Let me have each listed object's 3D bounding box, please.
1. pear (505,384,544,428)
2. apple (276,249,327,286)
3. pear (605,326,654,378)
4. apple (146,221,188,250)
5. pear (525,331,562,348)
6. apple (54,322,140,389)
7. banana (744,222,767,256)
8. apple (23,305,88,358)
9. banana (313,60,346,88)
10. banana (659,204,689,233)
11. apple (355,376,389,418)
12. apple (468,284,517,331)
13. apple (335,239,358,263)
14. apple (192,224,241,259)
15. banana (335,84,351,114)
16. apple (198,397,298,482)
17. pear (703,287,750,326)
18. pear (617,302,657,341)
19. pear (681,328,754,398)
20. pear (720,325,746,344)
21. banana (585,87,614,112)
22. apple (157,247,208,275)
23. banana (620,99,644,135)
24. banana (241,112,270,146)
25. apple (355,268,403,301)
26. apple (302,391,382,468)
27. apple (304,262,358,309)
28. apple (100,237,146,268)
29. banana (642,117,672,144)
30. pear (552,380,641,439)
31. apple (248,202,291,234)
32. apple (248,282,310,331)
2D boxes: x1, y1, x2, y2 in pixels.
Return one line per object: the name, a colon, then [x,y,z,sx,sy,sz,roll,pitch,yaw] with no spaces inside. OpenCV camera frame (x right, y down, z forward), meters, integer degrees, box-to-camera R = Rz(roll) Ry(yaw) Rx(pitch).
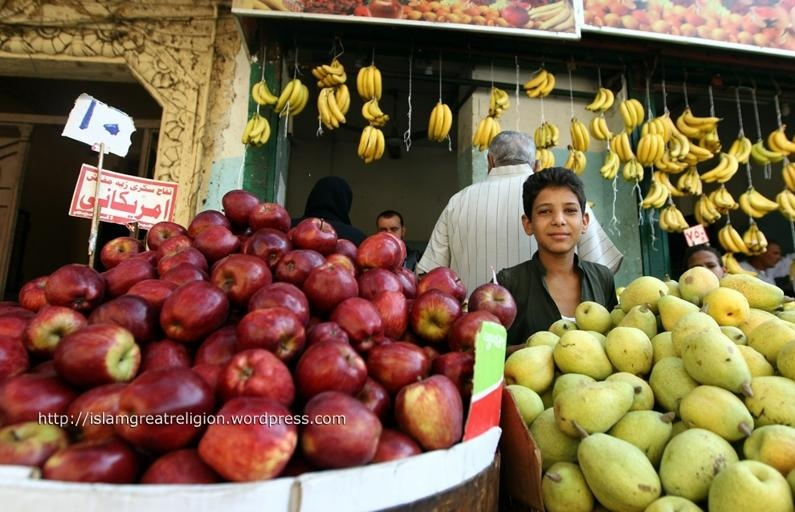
pear: [0.584,0.712,2.552,0.151,0.192,0.150,-29,14,-31]
apple: [-0.459,0.011,2.496,0.199,0.179,0.175,-5,4,-10]
pear: [1.156,0.493,2.832,0.214,0.299,0.216,-11,-6,8]
apple: [-1.210,-0.116,2.896,0.151,0.166,0.156,0,3,2]
pear: [0.762,0.441,2.891,0.081,0.071,0.115,-4,-3,8]
apple: [-1.176,0.370,2.245,0.266,0.254,0.253,-9,17,7]
banana: [4.339,-0.197,6.674,0.201,0.444,0.203,-4,-14,-16]
apple: [-1.425,0.309,2.300,0.203,0.217,0.218,5,-41,-30]
banana: [-0.638,-1.790,5.416,0.226,0.211,0.327,33,21,7]
banana: [2.911,-0.396,5.890,0.154,0.229,0.359,-38,46,-21]
apple: [-0.100,0.576,2.226,0.126,0.120,0.133,16,36,-31]
apple: [0.443,0.222,2.589,0.196,0.223,0.207,6,0,7]
apple: [-0.255,-0.023,2.743,0.093,0.106,0.095,0,-9,-6]
apple: [-0.860,-0.064,2.614,0.162,0.185,0.160,-6,-18,1]
banana: [-0.552,-1.625,5.510,0.168,0.319,0.081,-4,-6,-18]
apple: [-0.523,0.674,1.986,0.329,0.319,0.279,1,-30,-6]
pear: [1.667,0.260,2.826,0.159,0.176,0.221,-29,4,20]
pear: [1.261,0.321,2.887,0.159,0.234,0.164,16,4,2]
pear: [1.467,0.511,2.617,0.334,0.223,0.212,41,-9,9]
pear: [1.655,0.391,2.730,0.103,0.066,0.079,33,25,23]
banana: [2.171,-1.663,5.931,0.177,0.244,0.492,-21,11,45]
apple: [-0.992,0.017,2.531,0.144,0.151,0.145,-7,3,-10]
banana: [2.455,-1.499,5.783,0.218,0.365,0.156,3,2,-30]
banana: [-1.397,-1.267,5.438,0.213,0.382,0.159,-2,-39,-14]
apple: [-0.084,0.135,2.525,0.143,0.160,0.144,5,-19,-3]
apple: [-0.188,0.618,2.127,0.304,0.270,0.258,16,-3,23]
apple: [-0.297,0.135,2.495,0.186,0.223,0.199,-7,3,12]
apple: [-1.391,-0.018,2.821,0.159,0.181,0.166,5,-33,-8]
banana: [2.716,-1.321,5.774,0.284,0.240,0.103,27,-7,-11]
pear: [0.904,0.663,2.516,0.317,0.215,0.201,-12,28,-7]
apple: [-0.649,-0.213,2.774,0.151,0.178,0.157,-4,13,-22]
apple: [-0.487,0.186,2.289,0.192,0.215,0.193,-5,-1,-2]
